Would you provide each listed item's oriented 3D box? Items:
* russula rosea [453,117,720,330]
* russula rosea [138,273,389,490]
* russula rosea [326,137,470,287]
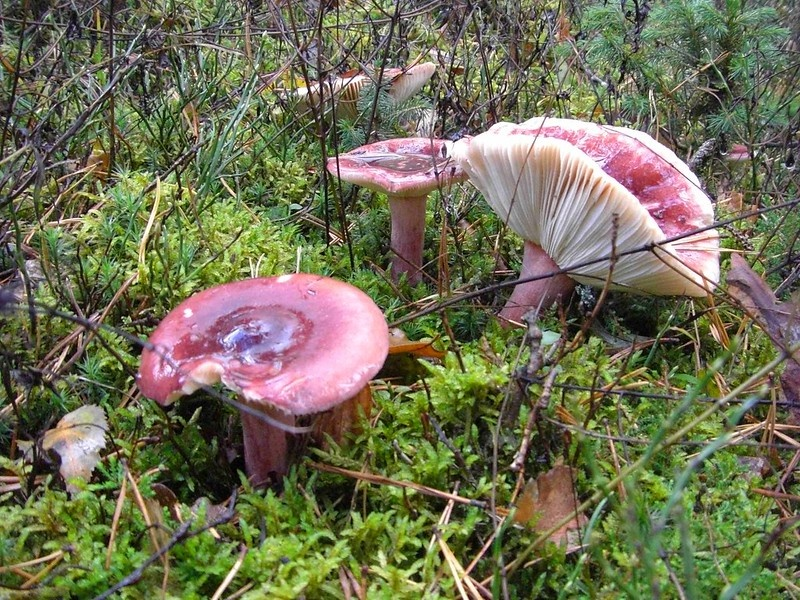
[{"bbox_3d":[0.907,-0.288,4.328,1.384,0.964,1.428,23,6,15],"label":"russula rosea"},{"bbox_3d":[-0.640,0.470,3.442,0.993,0.911,1.069,-5,35,-19],"label":"russula rosea"},{"bbox_3d":[0.009,-0.632,4.695,0.862,0.784,0.915,8,33,10],"label":"russula rosea"}]
